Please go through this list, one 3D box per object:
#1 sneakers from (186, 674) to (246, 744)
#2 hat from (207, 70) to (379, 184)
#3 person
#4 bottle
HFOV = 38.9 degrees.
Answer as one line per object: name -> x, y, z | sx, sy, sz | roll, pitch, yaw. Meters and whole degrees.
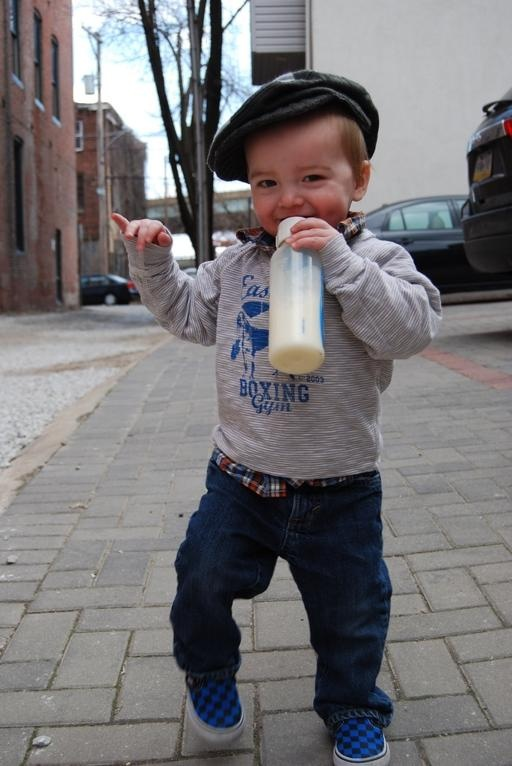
sneakers -> -0.084, 0.633, 1.448 | 0.111, 0.102, 0.292 | 0, -4, 0
hat -> 0.080, -0.484, 1.324 | 0.252, 0.114, 0.201 | -2, -11, -19
person -> 0.040, 0.056, 1.406 | 0.611, 1.263, 0.432 | 0, 12, 13
bottle -> 0.063, -0.140, 1.159 | 0.084, 0.244, 0.162 | -1, 11, 4
